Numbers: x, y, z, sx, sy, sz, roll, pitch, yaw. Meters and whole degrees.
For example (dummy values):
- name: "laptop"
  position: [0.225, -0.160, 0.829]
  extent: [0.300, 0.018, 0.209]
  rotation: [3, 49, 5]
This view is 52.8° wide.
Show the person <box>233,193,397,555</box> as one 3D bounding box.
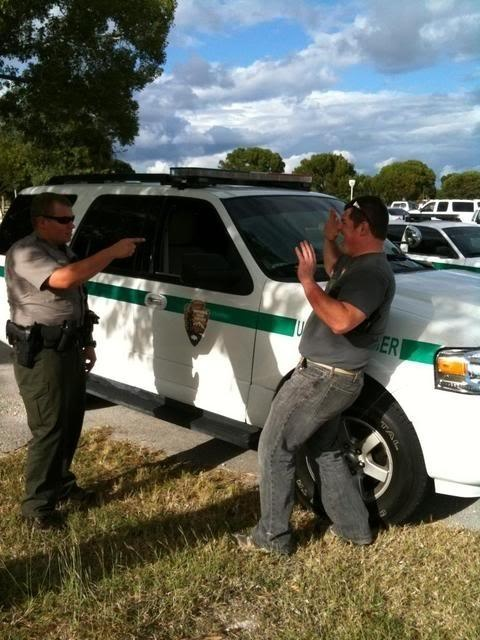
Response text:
- name: "person"
  position: [0.429, 0.296, 2.264]
  extent: [0.634, 1.712, 0.682]
  rotation: [-3, 4, -27]

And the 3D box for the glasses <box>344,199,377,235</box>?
- name: "glasses"
  position: [0.519, -0.455, 2.142]
  extent: [0.063, 0.155, 0.145]
  rotation: [-3, 4, -33]

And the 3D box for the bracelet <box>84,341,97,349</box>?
- name: "bracelet"
  position: [-0.982, 0.157, 3.150]
  extent: [0.046, 0.033, 0.060]
  rotation: [1, -11, -31]

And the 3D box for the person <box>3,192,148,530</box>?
- name: "person"
  position: [-1.013, 0.233, 2.663]
  extent: [0.506, 1.828, 0.981]
  rotation: [-2, 4, -23]

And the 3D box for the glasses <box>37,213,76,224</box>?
- name: "glasses"
  position: [-0.988, -0.547, 2.627]
  extent: [0.168, 0.058, 0.056]
  rotation: [-4, 5, -43]

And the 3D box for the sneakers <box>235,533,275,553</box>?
- name: "sneakers"
  position: [0.084, 1.105, 2.456]
  extent: [0.205, 0.079, 0.068]
  rotation: [-1, -2, 27]

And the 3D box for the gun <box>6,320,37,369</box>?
- name: "gun"
  position: [-1.134, 0.119, 2.623]
  extent: [0.217, 0.221, 0.100]
  rotation: [12, 16, 34]
